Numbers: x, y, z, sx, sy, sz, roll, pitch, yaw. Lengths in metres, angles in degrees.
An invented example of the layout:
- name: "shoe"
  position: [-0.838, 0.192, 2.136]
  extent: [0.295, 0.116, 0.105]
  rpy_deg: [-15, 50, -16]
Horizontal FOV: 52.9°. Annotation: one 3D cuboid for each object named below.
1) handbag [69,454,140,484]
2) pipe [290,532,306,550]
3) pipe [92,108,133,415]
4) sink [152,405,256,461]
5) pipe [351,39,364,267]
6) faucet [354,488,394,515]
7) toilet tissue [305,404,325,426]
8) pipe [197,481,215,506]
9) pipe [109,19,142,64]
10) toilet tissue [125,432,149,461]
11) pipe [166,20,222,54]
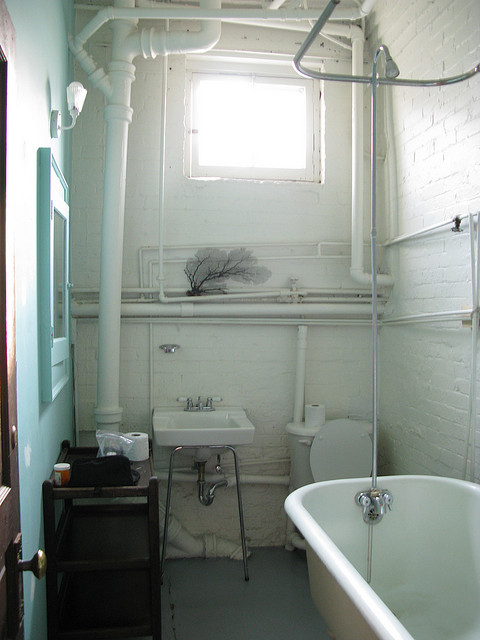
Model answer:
- name: "handbag"
  position: [-0.526, 0.572, 1.866]
  extent: [0.157, 0.068, 0.134]
  rpy_deg: [-1, -3, -2]
- name: "pipe"
  position: [0.348, 1.343, 2.933]
  extent: [0.094, 0.069, 0.131]
  rpy_deg: [3, 5, -14]
- name: "pipe"
  position: [-0.686, -0.320, 2.600]
  extent: [0.161, 1.680, 0.166]
  rpy_deg: [1, 0, -26]
- name: "sink"
  position: [-0.222, 0.690, 2.769]
  extent: [0.580, 0.305, 0.544]
  rpy_deg: [1, 0, -8]
- name: "pipe"
  position: [0.738, -0.867, 3.047]
  extent: [0.047, 1.310, 0.056]
  rpy_deg: [-6, 25, 3]
- name: "faucet"
  position: [0.533, 0.725, 1.922]
  extent: [0.123, 0.113, 0.068]
  rpy_deg: [-1, -4, -2]
- name: "toilet tissue"
  position: [0.456, 0.576, 2.929]
  extent: [0.097, 0.131, 0.110]
  rpy_deg: [-1, -3, 3]
- name: "pipe"
  position: [-0.207, 1.006, 2.832]
  extent: [0.077, 0.145, 0.216]
  rpy_deg: [1, 0, -11]
- name: "pipe"
  position: [-0.612, -1.470, 2.556]
  extent: [0.229, 0.237, 0.100]
  rpy_deg: [1, 0, 24]
- name: "toilet tissue"
  position: [-0.487, 0.603, 2.306]
  extent: [0.089, 0.123, 0.101]
  rpy_deg: [1, 4, 1]
- name: "pipe"
  position: [-0.246, -1.521, 2.606]
  extent: [0.276, 0.178, 0.169]
  rpy_deg: [1, 0, -1]
